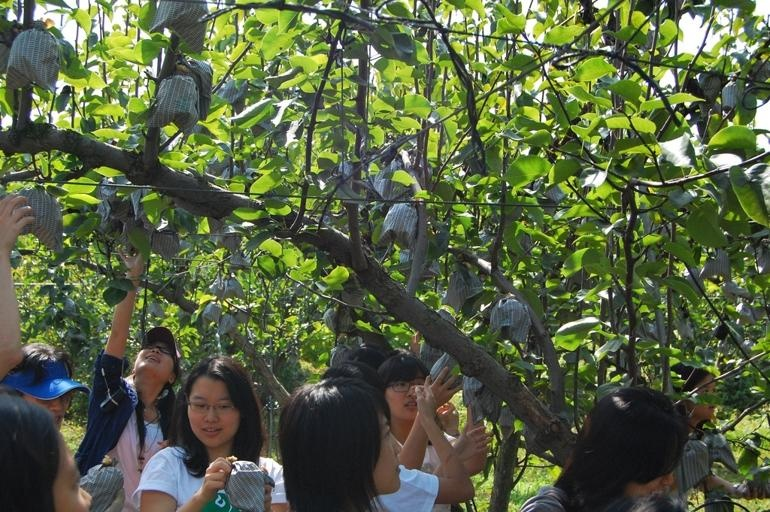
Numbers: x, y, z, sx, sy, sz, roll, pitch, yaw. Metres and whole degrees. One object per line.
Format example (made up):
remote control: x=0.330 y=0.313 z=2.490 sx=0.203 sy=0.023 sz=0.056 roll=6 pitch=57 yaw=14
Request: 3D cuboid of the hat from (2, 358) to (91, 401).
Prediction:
hat: x=-1.530 y=0.569 z=3.893 sx=0.405 sy=0.148 sz=0.269 roll=4 pitch=-4 yaw=21
